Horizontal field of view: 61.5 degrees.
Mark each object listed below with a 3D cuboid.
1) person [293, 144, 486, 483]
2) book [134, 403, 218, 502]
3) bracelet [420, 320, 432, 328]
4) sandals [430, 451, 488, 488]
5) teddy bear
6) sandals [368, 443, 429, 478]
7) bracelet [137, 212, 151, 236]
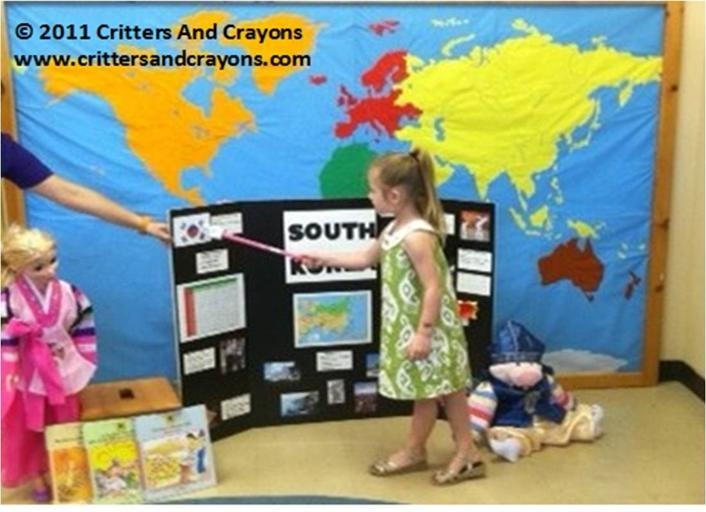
[{"bbox_3d":[0.279,0.318,2.999,0.672,1.699,0.372,-3,5,10],"label":"person"},{"bbox_3d":[-0.906,0.988,2.973,0.415,0.490,0.054,-10,-1,-24],"label":"book"},{"bbox_3d":[0.348,0.319,2.801,0.042,0.023,0.011,17,9,12],"label":"bracelet"},{"bbox_3d":[0.561,1.086,3.098,0.346,0.139,0.113,-7,4,-11],"label":"sandals"},{"bbox_3d":[1.005,0.744,3.437,0.810,0.707,0.474,-5,2,-22],"label":"teddy bear"},{"bbox_3d":[0.253,1.082,3.168,0.329,0.121,0.124,-3,9,-7],"label":"sandals"},{"bbox_3d":[-1.111,-0.171,3.189,0.095,0.131,0.105,2,3,-14],"label":"bracelet"}]
